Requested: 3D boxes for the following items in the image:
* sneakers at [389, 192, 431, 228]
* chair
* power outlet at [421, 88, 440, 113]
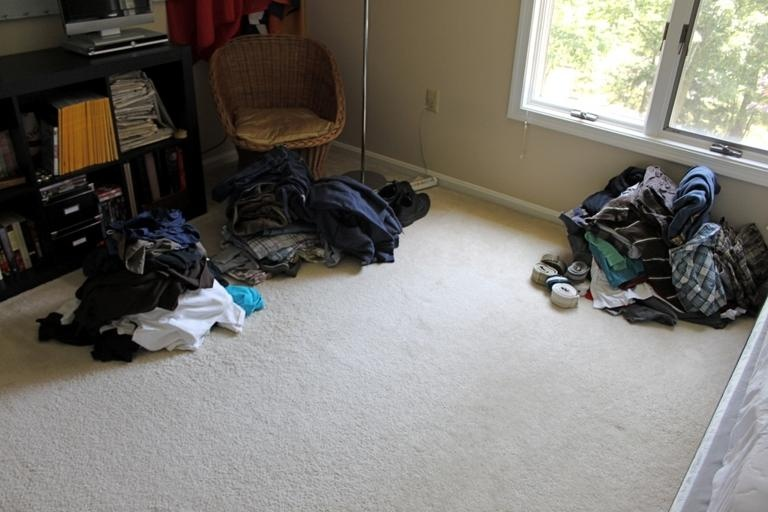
[{"bbox_3d":[0.191,-0.325,3.692,0.201,0.123,0.357,27,37,33],"label":"sneakers"},{"bbox_3d":[-0.708,-0.996,3.693,0.858,0.812,0.759,-5,32,-16],"label":"chair"},{"bbox_3d":[0.332,-1.113,3.892,0.143,0.183,0.025,22,40,27],"label":"power outlet"}]
